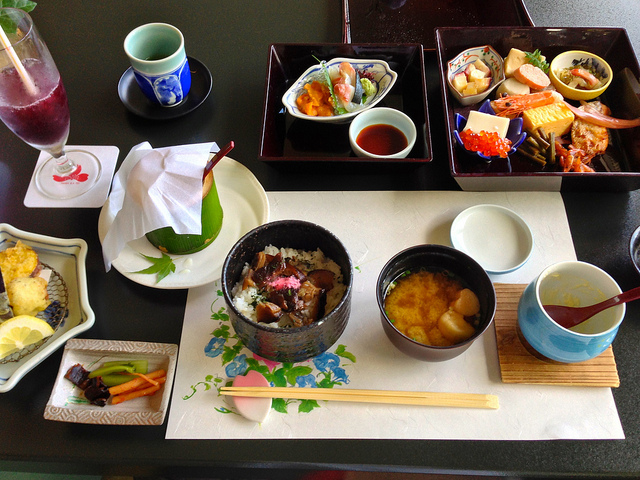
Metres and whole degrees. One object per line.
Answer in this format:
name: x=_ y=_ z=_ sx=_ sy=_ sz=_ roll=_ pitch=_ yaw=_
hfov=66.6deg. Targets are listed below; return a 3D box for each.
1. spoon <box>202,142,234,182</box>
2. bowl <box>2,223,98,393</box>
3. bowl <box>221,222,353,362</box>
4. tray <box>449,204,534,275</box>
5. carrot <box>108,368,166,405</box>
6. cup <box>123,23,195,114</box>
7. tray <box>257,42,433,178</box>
spoon: x=-0.333 y=-0.249 z=1.569 sx=0.022 sy=0.033 sz=0.198 roll=40 pitch=104 yaw=14
bowl: x=-0.859 y=0.253 z=1.611 sx=0.387 sy=0.073 sz=0.465 roll=4 pitch=65 yaw=-6
bowl: x=-0.098 y=0.161 z=1.444 sx=0.372 sy=0.179 sz=0.374 roll=-2 pitch=47 yaw=2
tray: x=0.551 y=-0.015 z=1.574 sx=0.229 sy=0.063 sz=0.243 roll=25 pitch=69 yaw=14
carrot: x=-0.517 y=0.413 z=1.372 sx=0.179 sy=0.058 sz=0.068 roll=-15 pitch=94 yaw=-17
cup: x=-0.612 y=-0.684 z=1.826 sx=0.191 sy=0.231 sz=0.317 roll=-15 pitch=61 yaw=-14
tray: x=0.082 y=-0.488 z=1.768 sx=0.591 sy=0.171 sz=0.564 roll=1 pitch=68 yaw=1
